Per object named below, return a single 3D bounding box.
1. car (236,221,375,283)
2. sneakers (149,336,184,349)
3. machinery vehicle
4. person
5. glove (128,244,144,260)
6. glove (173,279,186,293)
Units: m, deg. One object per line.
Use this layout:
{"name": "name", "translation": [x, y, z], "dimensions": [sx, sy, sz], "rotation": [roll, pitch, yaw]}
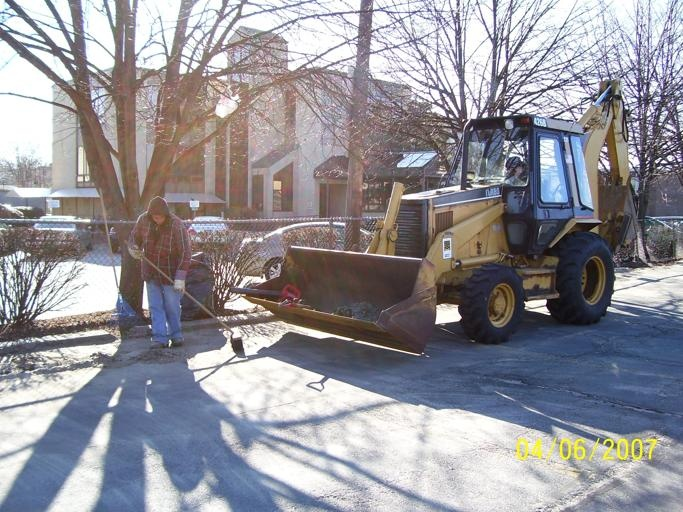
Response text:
{"name": "car", "translation": [-0.908, -0.201, 11.755], "dimensions": [2.498, 0.947, 1.218], "rotation": [-6, 5, -20]}
{"name": "sneakers", "translation": [-2.393, 1.224, 7.024], "dimensions": [0.154, 0.214, 0.473], "rotation": [-9, -23, 39]}
{"name": "machinery vehicle", "translation": [2.451, -1.063, 8.680], "dimensions": [7.365, 4.492, 2.358], "rotation": [-3, 7, -35]}
{"name": "person", "translation": [-2.521, 0.206, 7.143], "dimensions": [0.818, 2.038, 0.613], "rotation": [4, 7, 26]}
{"name": "glove", "translation": [-2.863, -0.067, 7.142], "dimensions": [0.172, 0.206, 0.315], "rotation": [-2, 6, -23]}
{"name": "glove", "translation": [-2.221, 0.407, 6.998], "dimensions": [0.130, 0.195, 0.131], "rotation": [-2, 7, -26]}
